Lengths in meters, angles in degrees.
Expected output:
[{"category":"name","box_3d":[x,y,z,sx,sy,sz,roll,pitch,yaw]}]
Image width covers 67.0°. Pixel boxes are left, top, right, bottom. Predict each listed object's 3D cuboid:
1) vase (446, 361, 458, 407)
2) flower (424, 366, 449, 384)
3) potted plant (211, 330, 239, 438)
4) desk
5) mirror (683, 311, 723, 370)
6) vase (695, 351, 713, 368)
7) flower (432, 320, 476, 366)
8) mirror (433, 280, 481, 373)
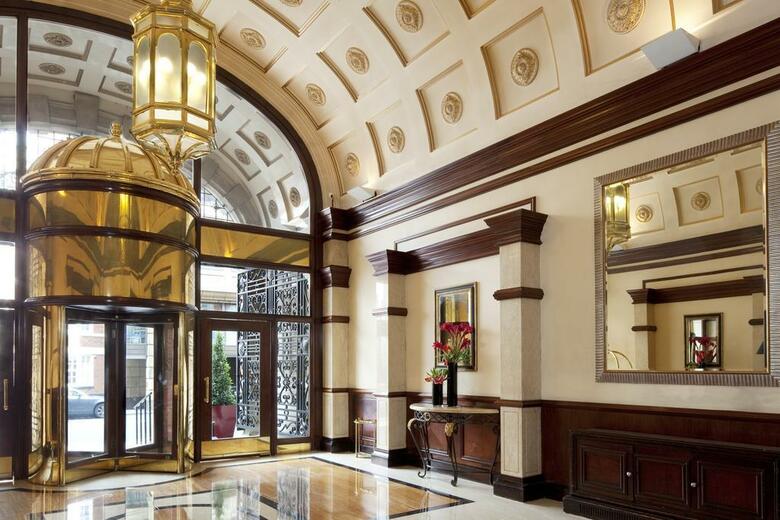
[{"category":"vase","box_3d":[0.863,1.728,8.217,0.129,0.600,0.166,0,1,-2]},{"category":"flower","box_3d":[0.658,1.676,8.533,0.271,0.320,0.318,1,-10,18]},{"category":"potted plant","box_3d":[-2.795,2.107,9.923,0.404,1.772,0.265,-1,1,-17]},{"category":"desk","box_3d":[0.797,2.642,8.439,0.737,1.099,1.733,3,-8,-40]},{"category":"mirror","box_3d":[3.407,0.929,6.438,0.357,0.688,0.051,-2,8,21]},{"category":"vase","box_3d":[3.418,1.086,6.422,0.155,0.159,0.151,4,-13,-2]},{"category":"flower","box_3d":[0.906,1.213,8.622,0.646,0.659,0.612,4,-8,-20]},{"category":"mirror","box_3d":[1.006,0.993,8.633,0.157,1.605,1.161,8,-11,-30]}]
